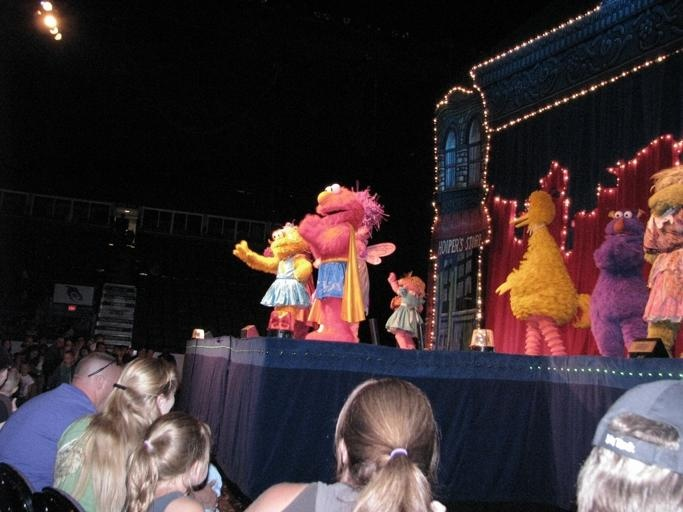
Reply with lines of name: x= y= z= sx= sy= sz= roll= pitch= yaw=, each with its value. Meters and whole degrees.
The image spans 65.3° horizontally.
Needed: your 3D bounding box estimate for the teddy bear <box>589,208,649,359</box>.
teddy bear: x=2.422 y=0.227 z=4.701 sx=0.469 sy=1.304 sz=0.348 roll=-4 pitch=-10 yaw=26
